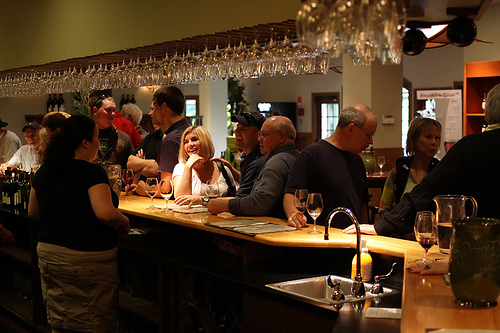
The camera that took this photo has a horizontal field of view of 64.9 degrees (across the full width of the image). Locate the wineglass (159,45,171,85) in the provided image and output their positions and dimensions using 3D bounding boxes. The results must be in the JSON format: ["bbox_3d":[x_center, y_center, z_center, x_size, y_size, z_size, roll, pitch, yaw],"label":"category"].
[{"bbox_3d":[-0.972,-1.140,4.458,0.154,0.387,0.466,-9,11,-11],"label":"wineglass"}]

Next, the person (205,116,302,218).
[{"bbox_3d":[0.118,0.264,3.900,0.834,1.439,1.022,2,-9,-1],"label":"person"}]

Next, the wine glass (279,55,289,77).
[{"bbox_3d":[0.317,-0.931,3.610,0.119,0.196,0.114,-3,1,2],"label":"wine glass"}]

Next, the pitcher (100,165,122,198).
[{"bbox_3d":[-1.629,0.138,4.745,0.231,0.364,0.227,7,15,-1],"label":"pitcher"}]

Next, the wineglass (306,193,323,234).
[{"bbox_3d":[0.501,0.352,3.041,0.129,0.350,0.249,-5,11,9],"label":"wineglass"}]

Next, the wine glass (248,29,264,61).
[{"bbox_3d":[0.057,-1.134,3.740,0.152,0.287,0.347,-7,11,3],"label":"wine glass"}]

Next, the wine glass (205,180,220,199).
[{"bbox_3d":[-0.390,0.254,4.161,0.146,0.230,0.155,-3,1,-6],"label":"wine glass"}]

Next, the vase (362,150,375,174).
[{"bbox_3d":[2.000,-0.056,6.559,0.216,0.385,0.220,-7,11,2],"label":"vase"}]

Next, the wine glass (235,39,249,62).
[{"bbox_3d":[-0.078,-1.108,3.772,0.120,0.232,0.237,-7,11,0],"label":"wine glass"}]

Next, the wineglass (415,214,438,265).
[{"bbox_3d":[1.032,0.413,2.278,0.119,0.298,0.123,-2,8,-34],"label":"wineglass"}]

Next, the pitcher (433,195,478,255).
[{"bbox_3d":[1.150,0.328,2.190,0.233,0.324,0.163,-1,-2,23],"label":"pitcher"}]
